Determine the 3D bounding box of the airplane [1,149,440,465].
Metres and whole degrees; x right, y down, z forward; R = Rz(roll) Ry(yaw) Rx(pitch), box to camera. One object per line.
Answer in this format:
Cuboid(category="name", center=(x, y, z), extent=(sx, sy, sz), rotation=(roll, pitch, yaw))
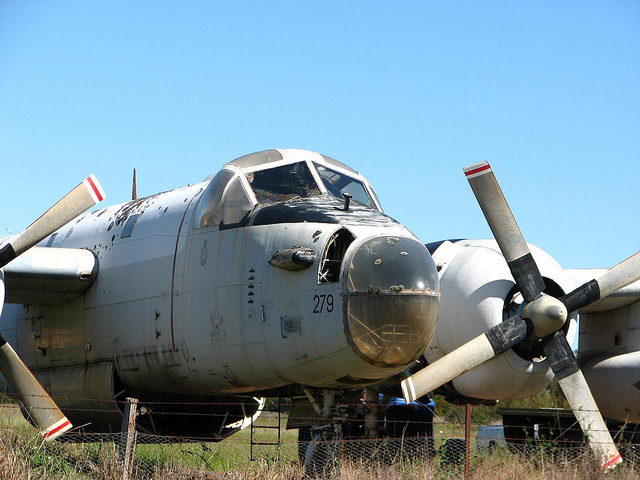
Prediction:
Cuboid(category="airplane", center=(-2.008, 1.164, 13.684), extent=(8.729, 5.810, 2.341), rotation=(-3, -5, 23))
